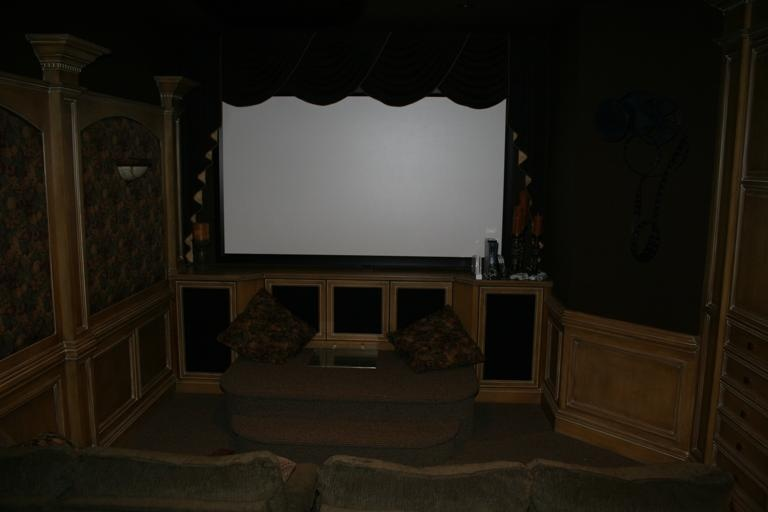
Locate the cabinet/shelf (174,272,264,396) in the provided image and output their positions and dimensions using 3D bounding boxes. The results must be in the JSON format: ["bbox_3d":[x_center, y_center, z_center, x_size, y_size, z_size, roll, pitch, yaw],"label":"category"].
[{"bbox_3d":[-1.564,0.678,5.455,0.980,1.398,0.705,1,17,-2],"label":"cabinet/shelf"}]

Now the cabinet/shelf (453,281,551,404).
[{"bbox_3d":[1.133,0.781,5.435,1.062,1.479,0.540,0,9,1],"label":"cabinet/shelf"}]

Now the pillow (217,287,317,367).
[{"bbox_3d":[-1.118,0.686,5.320,0.809,0.674,0.441,3,10,17],"label":"pillow"}]

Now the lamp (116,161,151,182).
[{"bbox_3d":[-2.159,-0.744,4.988,0.171,0.175,0.368,1,9,4],"label":"lamp"}]
